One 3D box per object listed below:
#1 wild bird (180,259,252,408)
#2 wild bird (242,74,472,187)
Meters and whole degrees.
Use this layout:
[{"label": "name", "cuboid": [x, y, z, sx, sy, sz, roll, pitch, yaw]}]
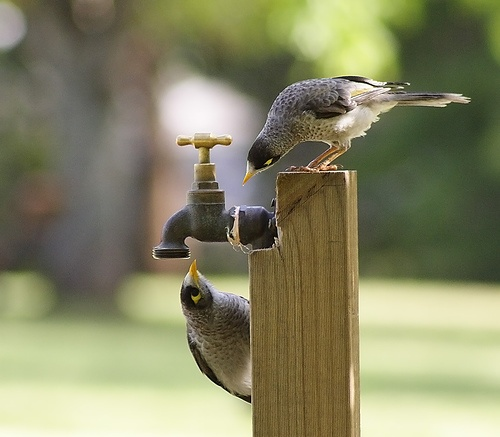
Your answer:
[{"label": "wild bird", "cuboid": [-0.087, 0.429, 3.823, 0.218, 0.317, 0.598, -3, 99, 5]}, {"label": "wild bird", "cuboid": [0.404, -0.376, 3.978, 0.915, 0.278, 0.397, -9, 101, -15]}]
